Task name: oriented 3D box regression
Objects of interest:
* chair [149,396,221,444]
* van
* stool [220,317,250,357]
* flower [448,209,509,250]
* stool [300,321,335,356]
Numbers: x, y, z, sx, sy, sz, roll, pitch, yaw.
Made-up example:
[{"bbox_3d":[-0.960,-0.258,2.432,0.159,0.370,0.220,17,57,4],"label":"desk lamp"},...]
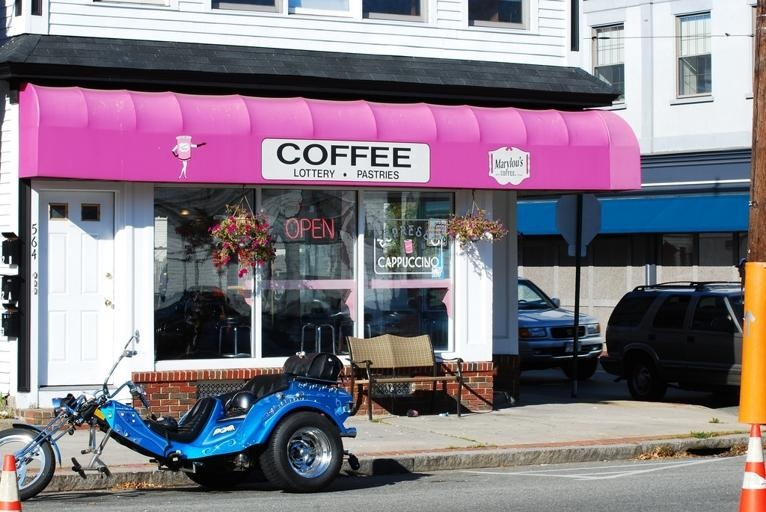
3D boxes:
[{"bbox_3d":[-2.726,2.220,18.187,0.945,0.574,0.438,-2,-4,-9],"label":"chair"},{"bbox_3d":[6.431,1.703,25.494,4.257,2.141,2.251,1,0,44],"label":"van"},{"bbox_3d":[-2.515,1.388,22.582,0.584,0.669,0.593,1,0,-21],"label":"stool"},{"bbox_3d":[1.571,-0.504,23.241,0.721,0.411,0.767,-3,5,-35],"label":"flower"},{"bbox_3d":[-1.136,1.407,22.947,0.565,0.544,0.531,1,3,-8],"label":"stool"}]
